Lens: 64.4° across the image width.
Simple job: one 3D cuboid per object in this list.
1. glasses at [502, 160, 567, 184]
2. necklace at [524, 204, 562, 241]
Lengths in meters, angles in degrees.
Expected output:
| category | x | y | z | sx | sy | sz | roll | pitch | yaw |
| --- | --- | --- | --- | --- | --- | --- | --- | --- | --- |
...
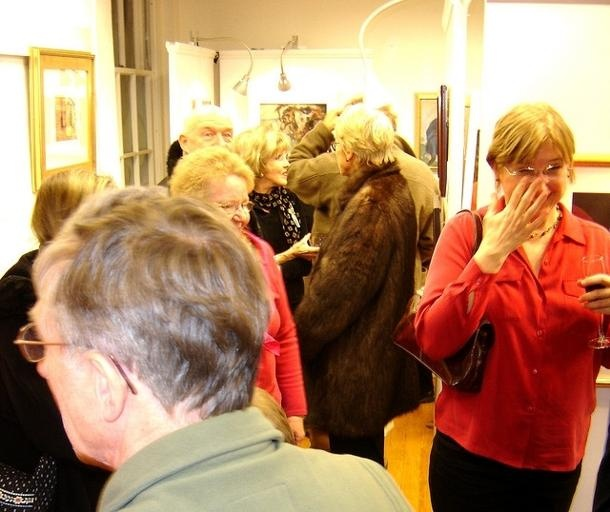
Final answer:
| category | x | y | z | sx | sy | sz | roll | pitch | yaw |
| --- | --- | --- | --- | --- | --- | --- | --- | --- | --- |
| glasses | 0.759 | -0.287 | 1.596 | 0.188 | 0.054 | 0.066 | 6 | 17 | 22 |
| necklace | 0.854 | -0.106 | 1.714 | 0.036 | 0.147 | 0.113 | 38 | 19 | -7 |
